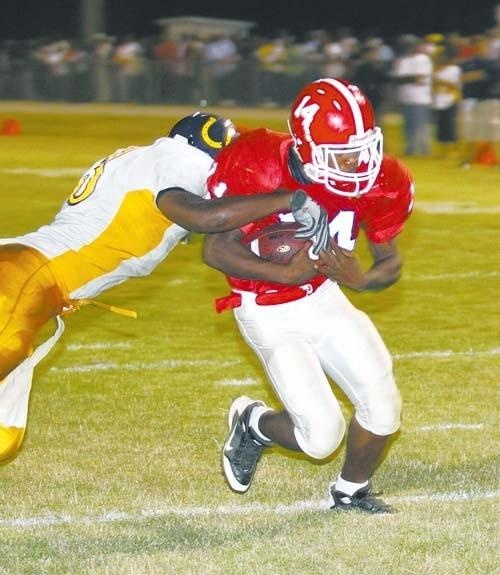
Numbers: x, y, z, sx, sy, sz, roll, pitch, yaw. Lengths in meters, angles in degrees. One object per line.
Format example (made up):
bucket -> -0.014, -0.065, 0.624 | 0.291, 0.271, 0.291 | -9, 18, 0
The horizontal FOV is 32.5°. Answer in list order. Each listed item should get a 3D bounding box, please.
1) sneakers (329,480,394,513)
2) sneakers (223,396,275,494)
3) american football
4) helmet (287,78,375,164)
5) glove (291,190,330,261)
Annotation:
sneakers -> 0.344, 0.664, 2.660 | 0.251, 0.067, 0.069 | -1, -1, 13
sneakers -> 0.028, 0.531, 2.886 | 0.188, 0.312, 0.124 | -21, -44, 22
american football -> 0.045, -0.136, 2.564 | 0.227, 0.073, 0.165 | 12, 15, 36
helmet -> 0.237, -0.468, 2.439 | 0.239, 0.248, 0.157 | 3, 14, 2
glove -> 0.169, -0.169, 2.376 | 0.112, 0.197, 0.153 | 4, 13, 4
